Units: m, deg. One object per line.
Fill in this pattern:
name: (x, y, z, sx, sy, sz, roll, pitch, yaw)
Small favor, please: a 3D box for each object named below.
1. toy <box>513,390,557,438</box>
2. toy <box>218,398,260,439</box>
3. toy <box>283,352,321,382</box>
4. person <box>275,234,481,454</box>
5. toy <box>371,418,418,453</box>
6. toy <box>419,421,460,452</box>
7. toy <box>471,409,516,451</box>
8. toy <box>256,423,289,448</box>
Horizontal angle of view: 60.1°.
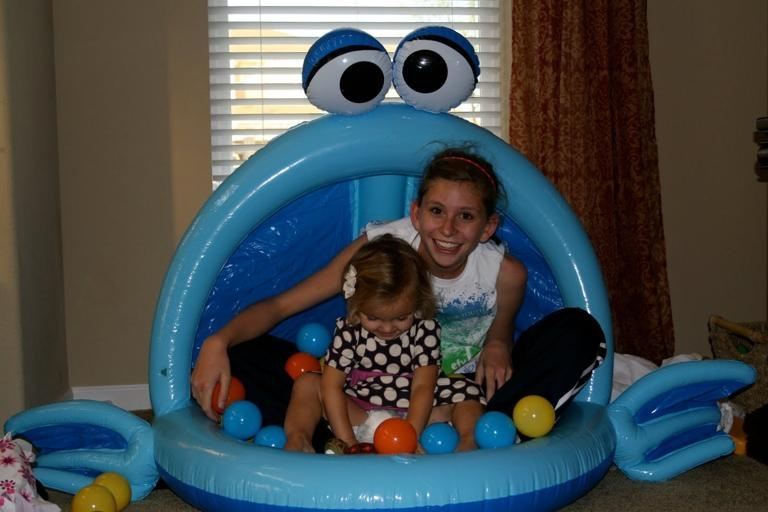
toy: (0.535, 0.564, 2.322, 0.089, 0.090, 0.101, 45, -4, -35)
toy: (-0.507, 0.584, 2.420, 0.121, 0.138, 0.150, 7, -8, 8)
toy: (-0.330, 0.485, 2.736, 0.122, 0.118, 0.111, 6, -20, -17)
person: (0.017, 0.353, 2.418, 0.681, 0.640, 0.807, -1, -51, -3)
toy: (0.046, 0.615, 2.230, 0.157, 0.130, 0.191, -1, -21, -4)
toy: (0.192, 0.638, 2.299, 0.108, 0.107, 0.100, -5, -9, -20)
toy: (0.399, 0.603, 2.274, 0.161, 0.137, 0.188, -1, -21, -4)
toy: (-0.403, 0.646, 2.362, 0.113, 0.091, 0.127, 2, -22, -12)
